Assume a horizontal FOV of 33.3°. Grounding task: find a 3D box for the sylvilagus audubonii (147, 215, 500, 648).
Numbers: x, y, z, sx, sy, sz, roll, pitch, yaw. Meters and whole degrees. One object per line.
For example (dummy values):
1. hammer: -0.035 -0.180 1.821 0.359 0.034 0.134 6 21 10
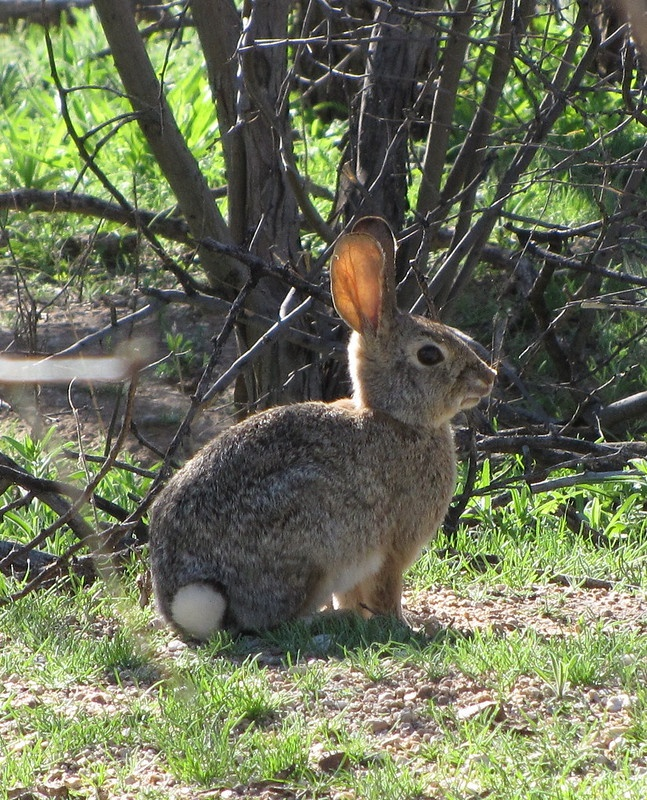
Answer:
1. sylvilagus audubonii: 0.025 0.119 3.363 1.006 1.241 0.485 5 17 -13
